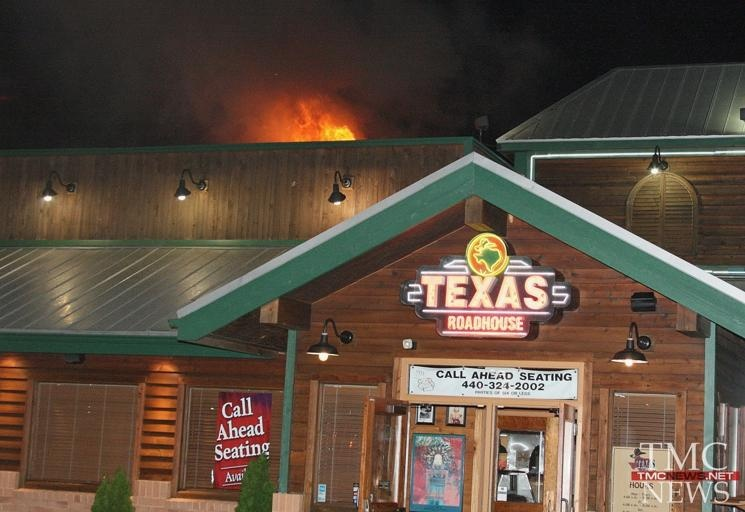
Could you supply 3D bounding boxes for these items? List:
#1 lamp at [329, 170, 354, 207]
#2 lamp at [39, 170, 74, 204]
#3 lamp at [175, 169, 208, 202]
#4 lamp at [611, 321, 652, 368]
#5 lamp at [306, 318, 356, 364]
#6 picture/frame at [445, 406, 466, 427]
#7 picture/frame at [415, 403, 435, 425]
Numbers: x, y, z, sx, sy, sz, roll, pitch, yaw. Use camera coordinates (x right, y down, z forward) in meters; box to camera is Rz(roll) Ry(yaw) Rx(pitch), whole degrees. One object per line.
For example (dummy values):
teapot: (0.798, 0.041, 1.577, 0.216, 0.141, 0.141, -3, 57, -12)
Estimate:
lamp: (-0.827, -1.847, 38.190, 0.614, 1.055, 0.624, 3, -22, -1)
lamp: (-8.839, -1.923, 39.665, 0.559, 0.933, 1.303, -8, -9, 35)
lamp: (-5.060, -1.932, 38.963, 0.860, 0.958, 0.666, 20, -28, -37)
lamp: (5.887, 1.967, 31.982, 0.831, 0.976, 0.726, -1, -22, 9)
lamp: (-1.217, 2.029, 33.017, 0.733, 0.951, 1.322, -9, -21, 32)
picture/frame: (1.964, 3.740, 32.852, 0.560, 0.608, 0.067, 1, -7, 6)
picture/frame: (1.255, 3.698, 33.023, 0.602, 0.551, 0.047, 1, -6, 7)
